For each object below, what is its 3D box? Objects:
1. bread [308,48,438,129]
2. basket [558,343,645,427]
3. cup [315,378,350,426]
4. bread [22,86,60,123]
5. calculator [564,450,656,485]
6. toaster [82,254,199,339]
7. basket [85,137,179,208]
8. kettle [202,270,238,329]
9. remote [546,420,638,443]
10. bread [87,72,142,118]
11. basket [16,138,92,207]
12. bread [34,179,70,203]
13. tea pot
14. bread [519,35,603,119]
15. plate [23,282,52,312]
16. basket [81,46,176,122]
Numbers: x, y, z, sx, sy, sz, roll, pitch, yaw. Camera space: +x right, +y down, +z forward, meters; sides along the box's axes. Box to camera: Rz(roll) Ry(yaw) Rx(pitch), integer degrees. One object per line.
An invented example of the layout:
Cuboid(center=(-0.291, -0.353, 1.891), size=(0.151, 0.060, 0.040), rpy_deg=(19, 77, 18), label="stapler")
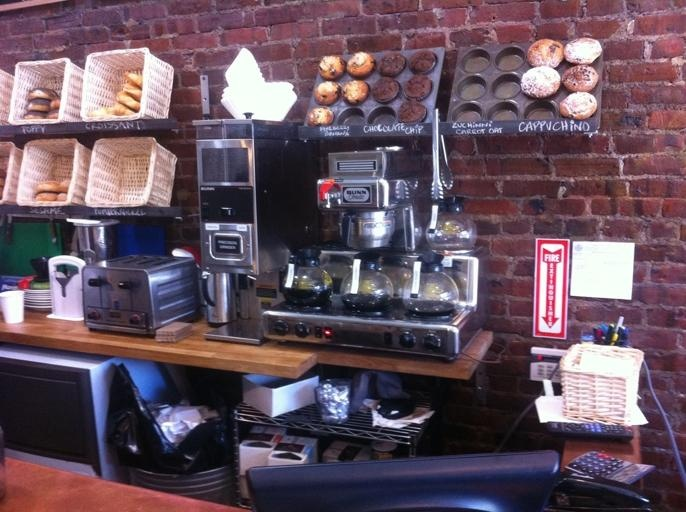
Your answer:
Cuboid(center=(0.123, -0.719, 2.478), size=(0.562, 0.336, 0.168), rpy_deg=(2, 3, 20), label="bread")
Cuboid(center=(0.837, 0.425, 1.888), size=(0.230, 0.238, 0.233), rpy_deg=(3, 3, 26), label="basket")
Cuboid(center=(-0.039, 0.573, 2.267), size=(0.146, 0.112, 0.153), rpy_deg=(0, -1, 0), label="cup")
Cuboid(center=(-1.576, -0.792, 3.036), size=(0.194, 0.078, 0.219), rpy_deg=(5, 42, -10), label="bread")
Cuboid(center=(0.770, 0.613, 1.673), size=(0.164, 0.055, 0.208), rpy_deg=(-7, 10, -41), label="calculator")
Cuboid(center=(-0.918, 0.163, 2.687), size=(0.401, 0.274, 0.407), rpy_deg=(3, 4, 23), label="toaster")
Cuboid(center=(-1.097, -0.441, 3.051), size=(0.421, 0.422, 0.294), rpy_deg=(-1, -10, 0), label="basket")
Cuboid(center=(-0.557, 0.196, 2.602), size=(0.135, 0.251, 0.108), rpy_deg=(2, 3, 4), label="kettle")
Cuboid(center=(0.793, 0.561, 1.855), size=(0.230, 0.031, 0.095), rpy_deg=(0, 8, 10), label="remote")
Cuboid(center=(-1.090, -0.790, 2.867), size=(0.312, 0.268, 0.080), rpy_deg=(-1, -7, 30), label="bread")
Cuboid(center=(-1.551, -0.437, 3.103), size=(0.475, 0.388, 0.354), rpy_deg=(1, 0, 5), label="basket")
Cuboid(center=(-1.524, -0.335, 3.073), size=(0.175, 0.102, 0.161), rpy_deg=(0, 6, 13), label="bread")
Cuboid(center=(0.170, 0.019, 2.289), size=(0.784, 0.474, 0.509), rpy_deg=(2, 4, 26), label="tea pot")
Cuboid(center=(0.848, -0.663, 2.245), size=(0.341, 0.326, 0.179), rpy_deg=(10, 14, 28), label="bread")
Cuboid(center=(-1.542, 0.200, 2.935), size=(0.156, 0.094, 0.156), rpy_deg=(4, 5, 40), label="plate")
Cuboid(center=(-1.075, -0.855, 2.906), size=(0.528, 0.425, 0.377), rpy_deg=(1, 3, 12), label="basket")
